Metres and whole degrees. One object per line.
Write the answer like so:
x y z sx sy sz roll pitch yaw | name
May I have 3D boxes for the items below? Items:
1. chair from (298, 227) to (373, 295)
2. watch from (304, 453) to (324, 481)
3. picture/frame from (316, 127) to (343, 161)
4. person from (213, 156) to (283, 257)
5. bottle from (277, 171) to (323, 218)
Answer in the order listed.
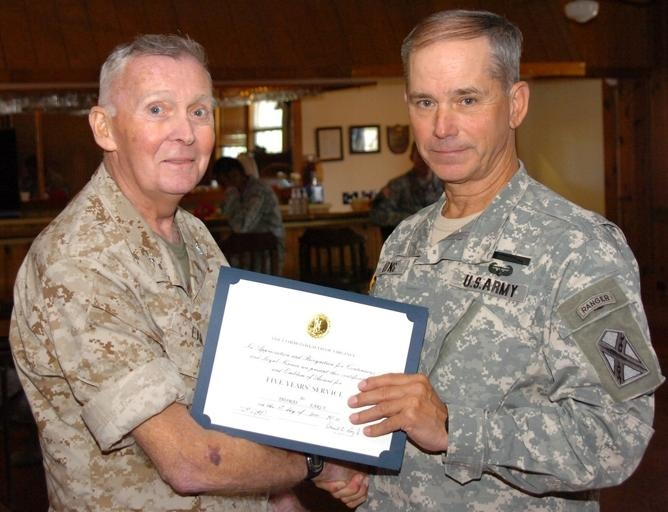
0.006 0.028 6.056 0.583 0.636 0.586 -1 1 -16 | chair
-0.065 0.678 2.187 0.066 0.078 0.086 -2 -20 -2 | watch
-0.040 -0.799 4.887 0.028 0.205 0.277 -12 4 28 | picture/frame
-0.835 -0.354 6.381 0.501 1.350 0.568 -21 47 -32 | person
-0.247 -0.461 5.249 0.516 0.243 0.473 2 -22 1 | bottle
